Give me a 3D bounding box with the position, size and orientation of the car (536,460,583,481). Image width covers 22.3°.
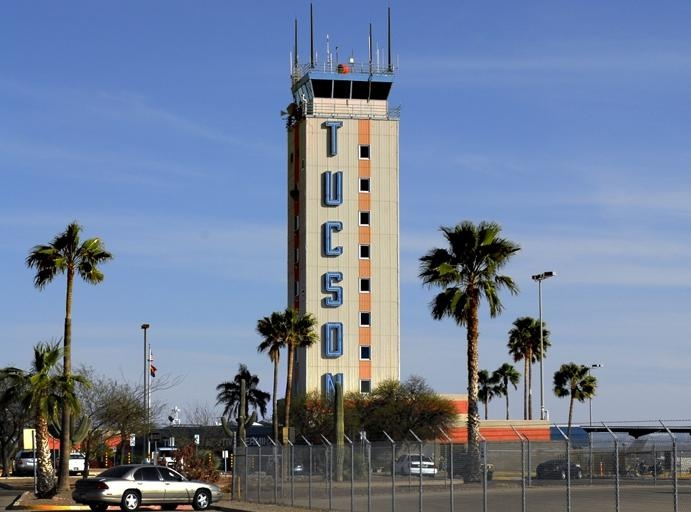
[{"bbox_3d":[9.960,10.358,84.529,2.532,1.226,1.468,-5,-6,17],"label":"car"}]
